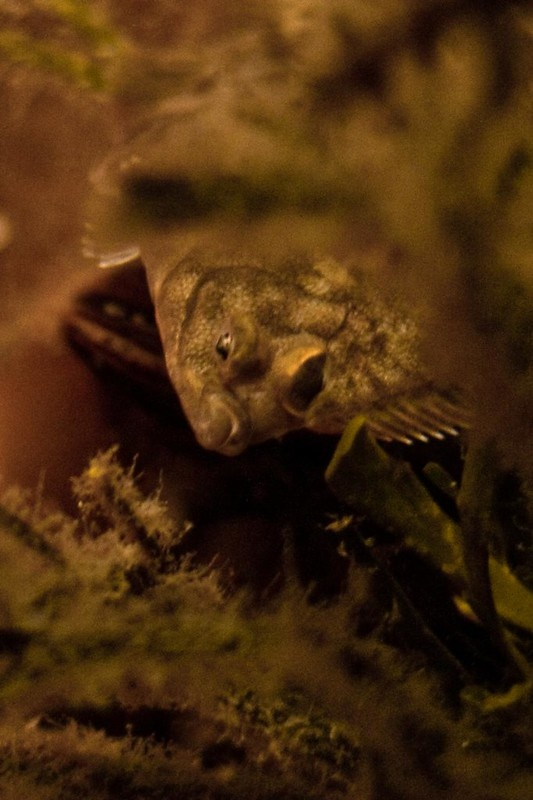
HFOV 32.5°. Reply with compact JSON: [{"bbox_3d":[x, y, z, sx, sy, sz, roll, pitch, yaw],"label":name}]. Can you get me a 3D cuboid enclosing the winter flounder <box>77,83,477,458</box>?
[{"bbox_3d":[-0.062,-0.111,0.950,0.480,0.209,0.174,24,75,-5],"label":"winter flounder"}]
